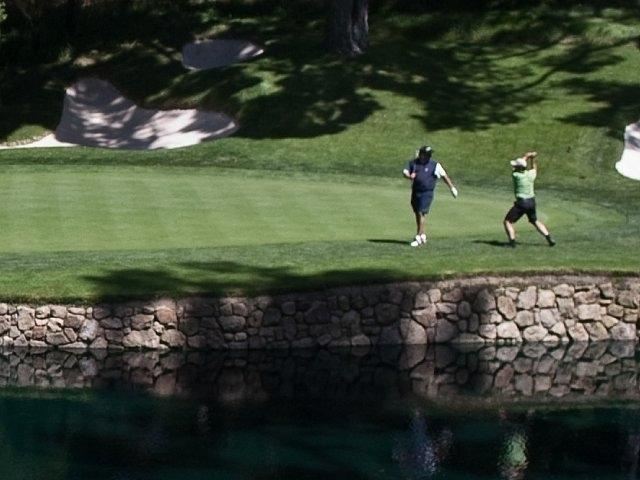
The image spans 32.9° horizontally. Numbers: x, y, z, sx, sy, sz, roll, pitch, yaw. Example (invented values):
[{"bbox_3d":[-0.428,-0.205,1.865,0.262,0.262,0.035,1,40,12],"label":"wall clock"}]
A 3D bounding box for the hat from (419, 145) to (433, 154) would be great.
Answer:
[{"bbox_3d":[2.714,-2.322,27.921,0.289,0.144,0.364,0,9,2],"label":"hat"}]

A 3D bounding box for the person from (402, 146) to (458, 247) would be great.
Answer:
[{"bbox_3d":[2.771,-1.141,28.119,1.160,2.533,1.010,-1,10,3],"label":"person"}]

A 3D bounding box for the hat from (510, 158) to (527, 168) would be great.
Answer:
[{"bbox_3d":[5.099,-1.969,27.692,0.381,0.245,0.455,0,9,10],"label":"hat"}]

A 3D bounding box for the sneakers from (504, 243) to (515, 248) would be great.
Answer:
[{"bbox_3d":[4.877,0.119,27.803,0.326,0.122,0.232,6,11,38],"label":"sneakers"}]

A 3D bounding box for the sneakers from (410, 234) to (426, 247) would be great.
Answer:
[{"bbox_3d":[2.510,0.019,28.000,0.579,0.228,0.186,-19,20,-22],"label":"sneakers"}]
